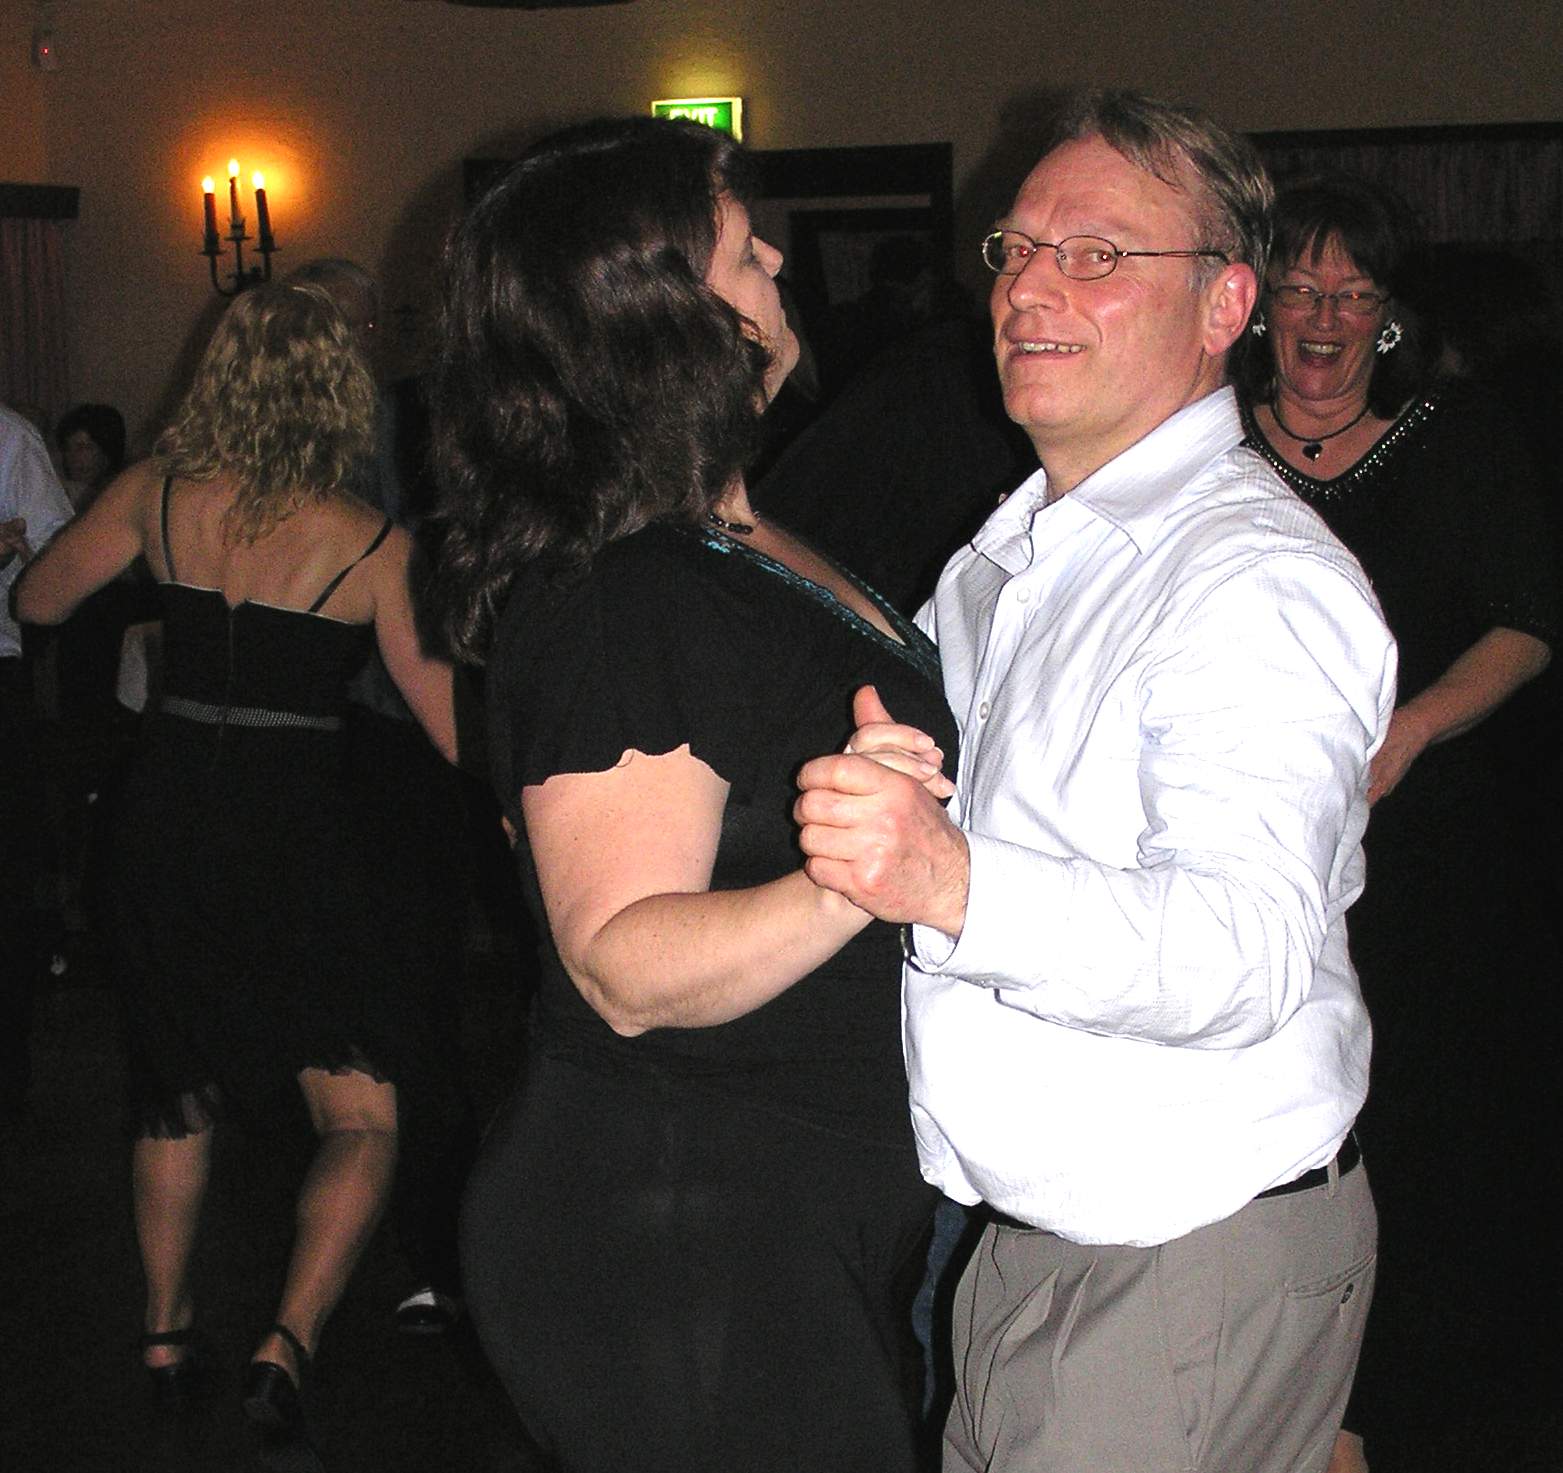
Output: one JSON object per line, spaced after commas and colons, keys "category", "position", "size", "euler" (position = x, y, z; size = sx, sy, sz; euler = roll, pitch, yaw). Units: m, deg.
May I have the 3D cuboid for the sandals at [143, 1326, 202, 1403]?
{"category": "sandals", "position": [-1.038, 1.072, 2.850], "size": [0.056, 0.079, 0.177], "euler": [-5, 45, -10]}

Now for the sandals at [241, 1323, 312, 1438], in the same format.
{"category": "sandals", "position": [-0.816, 1.052, 2.706], "size": [0.072, 0.218, 0.084], "euler": [-1, 35, -4]}

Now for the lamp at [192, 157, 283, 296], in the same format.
{"category": "lamp", "position": [-2.393, -2.236, 7.337], "size": [0.324, 0.586, 0.914], "euler": [-2, 12, -18]}
